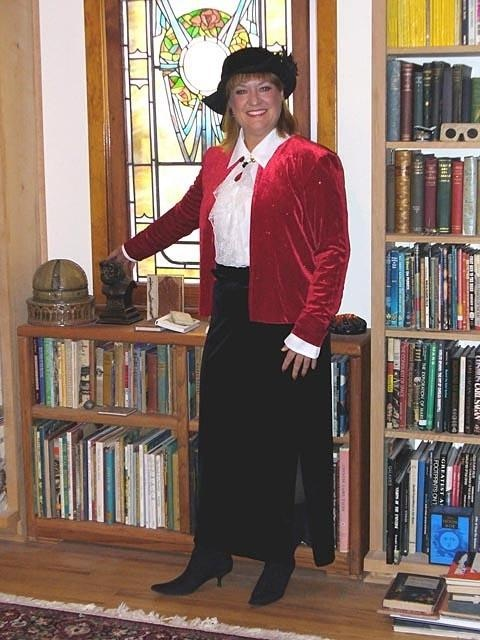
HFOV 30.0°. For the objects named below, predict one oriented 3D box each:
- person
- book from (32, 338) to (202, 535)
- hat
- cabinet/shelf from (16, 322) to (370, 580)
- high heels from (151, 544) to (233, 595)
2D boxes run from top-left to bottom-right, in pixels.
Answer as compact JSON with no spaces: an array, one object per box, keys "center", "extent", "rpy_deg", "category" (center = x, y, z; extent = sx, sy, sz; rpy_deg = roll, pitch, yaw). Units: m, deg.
[{"center":[0.050,0.049,2.699],"extent":[0.554,1.661,0.236],"rpy_deg":[2,12,21],"category":"person"},{"center":[-0.425,0.402,3.190],"extent":[0.757,0.668,0.265],"rpy_deg":[1,6,10],"category":"book"},{"center":[0.013,-0.692,2.614],"extent":[0.296,0.174,0.188],"rpy_deg":[0,11,11],"category":"hat"},{"center":[-0.123,0.424,2.959],"extent":[0.897,0.580,0.262],"rpy_deg":[2,6,14],"category":"cabinet/shelf"},{"center":[-0.200,0.795,2.891],"extent":[0.310,0.183,0.117],"rpy_deg":[5,-4,-12],"category":"high heels"}]
